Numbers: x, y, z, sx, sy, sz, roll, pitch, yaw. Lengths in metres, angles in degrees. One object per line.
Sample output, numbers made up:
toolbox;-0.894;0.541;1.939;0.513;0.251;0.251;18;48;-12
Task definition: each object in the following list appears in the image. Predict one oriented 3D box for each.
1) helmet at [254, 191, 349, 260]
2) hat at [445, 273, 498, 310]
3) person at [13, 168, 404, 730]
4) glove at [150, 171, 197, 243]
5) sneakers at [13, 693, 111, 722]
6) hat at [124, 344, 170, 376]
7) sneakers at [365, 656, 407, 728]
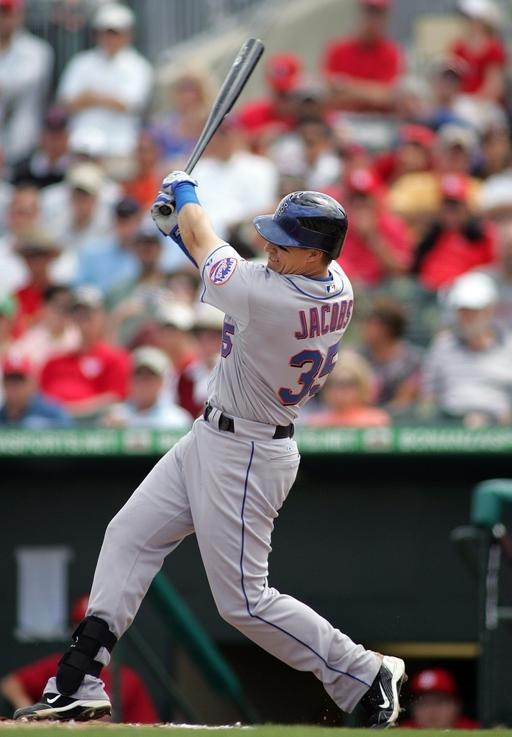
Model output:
helmet;0.127;-0.417;3.709;0.269;0.190;0.213;-2;27;1
hat;0.972;-0.348;5.681;0.228;0.107;0.297;1;25;9
person;-0.033;0.290;3.713;0.979;1.526;1.009;5;29;15
glove;-0.266;-0.503;3.883;0.082;0.192;0.161;10;15;-11
sneakers;-0.566;1.007;3.746;0.315;0.121;0.098;4;-19;-5
hat;-0.492;-0.020;5.576;0.147;0.035;0.147;25;19;8
sneakers;0.384;0.977;3.771;0.141;0.084;0.229;8;65;0
